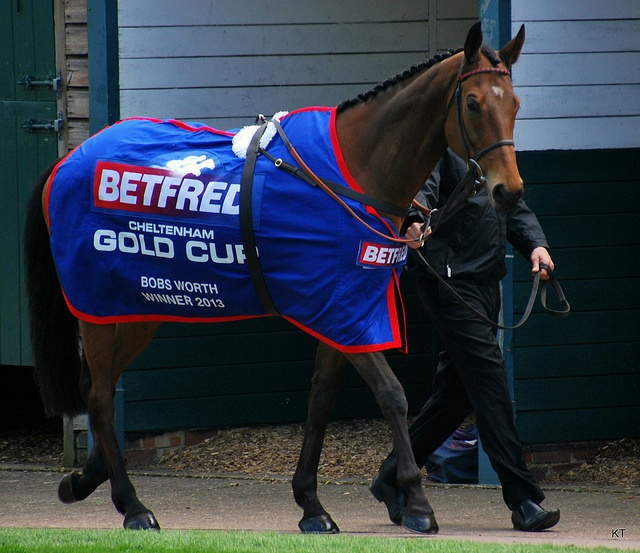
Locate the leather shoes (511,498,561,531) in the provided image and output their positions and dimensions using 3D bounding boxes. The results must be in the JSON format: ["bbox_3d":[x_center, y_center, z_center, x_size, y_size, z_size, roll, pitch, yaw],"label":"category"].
[{"bbox_3d":[1.135,1.287,8.228,0.111,0.126,0.299,-3,-9,-35],"label":"leather shoes"}]

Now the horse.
[{"bbox_3d":[-0.321,0.026,8.825,3.216,2.795,0.942,0,-2,14],"label":"horse"}]
